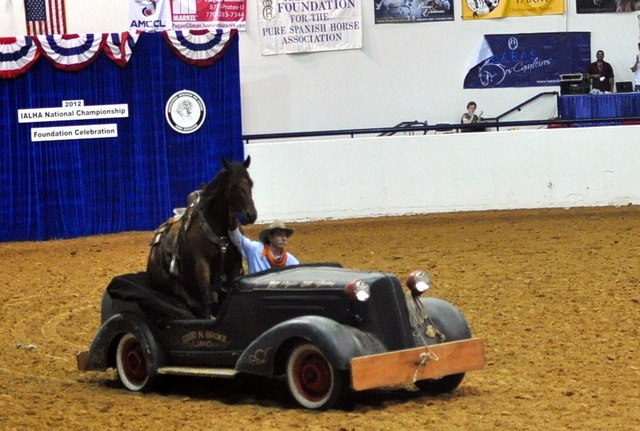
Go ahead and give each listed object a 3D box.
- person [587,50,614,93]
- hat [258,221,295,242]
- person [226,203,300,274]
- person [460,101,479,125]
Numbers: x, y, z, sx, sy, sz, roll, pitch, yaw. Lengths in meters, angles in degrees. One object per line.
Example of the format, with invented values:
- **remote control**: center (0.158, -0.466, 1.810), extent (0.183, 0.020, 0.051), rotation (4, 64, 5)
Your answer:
- **person**: center (8.641, -4.495, 33.947), extent (0.832, 1.252, 0.965), rotation (-2, 7, 1)
- **hat**: center (-0.772, 0.285, 19.806), extent (0.610, 0.401, 0.389), rotation (-2, 7, -1)
- **person**: center (-1.158, 0.476, 22.115), extent (0.974, 2.284, 0.705), rotation (-10, 7, -25)
- **person**: center (4.611, -3.221, 33.867), extent (0.547, 0.617, 1.314), rotation (-1, 7, 7)
